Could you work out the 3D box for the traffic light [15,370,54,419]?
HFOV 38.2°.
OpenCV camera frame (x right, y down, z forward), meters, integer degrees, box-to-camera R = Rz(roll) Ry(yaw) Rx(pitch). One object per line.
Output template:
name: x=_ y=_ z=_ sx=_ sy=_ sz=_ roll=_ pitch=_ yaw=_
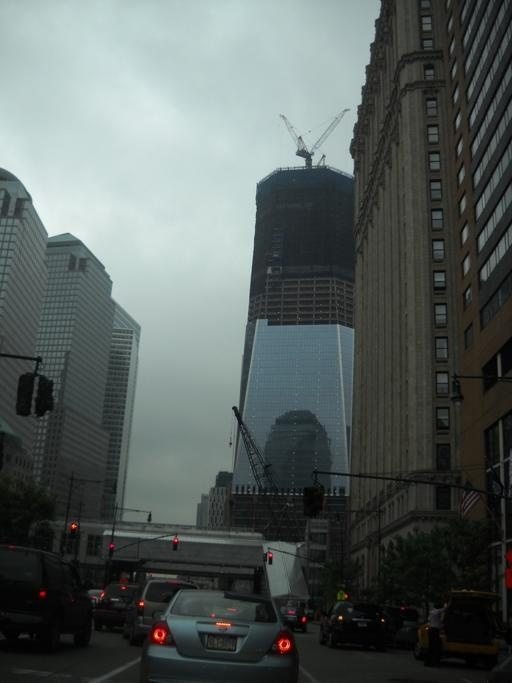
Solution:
traffic light: x=-4.470 y=1.040 z=14.917 sx=0.724 sy=1.076 sz=1.009 roll=9 pitch=-19 yaw=-16
